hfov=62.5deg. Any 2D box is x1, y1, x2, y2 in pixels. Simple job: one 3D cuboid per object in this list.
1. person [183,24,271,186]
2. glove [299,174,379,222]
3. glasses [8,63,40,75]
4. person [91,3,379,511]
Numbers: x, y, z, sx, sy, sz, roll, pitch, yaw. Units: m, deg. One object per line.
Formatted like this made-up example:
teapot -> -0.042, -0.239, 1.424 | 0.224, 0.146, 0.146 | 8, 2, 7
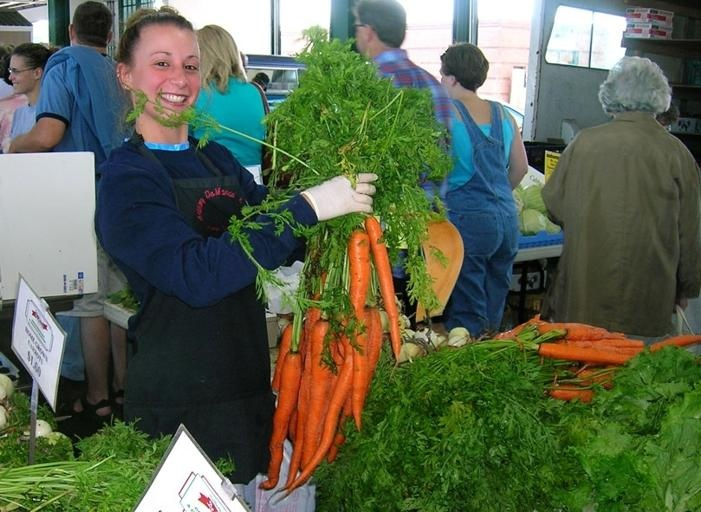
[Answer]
person -> -0.837, -0.938, 4.223 | 0.501, 1.512, 0.404 | 1, 41, 2
glove -> -0.022, -0.206, 1.980 | 0.300, 0.158, 0.096 | -4, 10, -34
glasses -> -2.786, -1.598, 4.944 | 0.168, 0.053, 0.163 | -12, 16, -39
person -> -0.479, 0.072, 2.125 | 0.812, 1.969, 0.527 | 1, 8, -2
